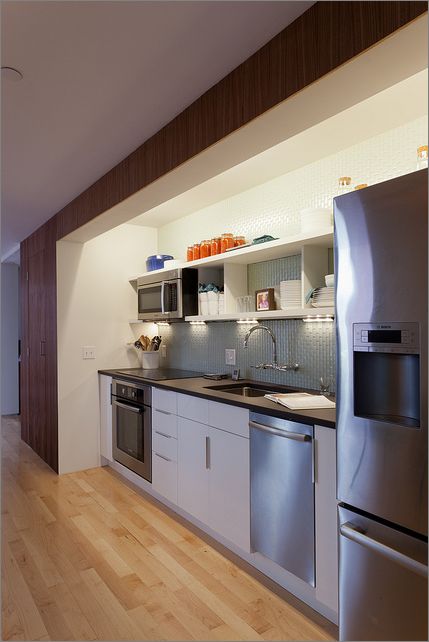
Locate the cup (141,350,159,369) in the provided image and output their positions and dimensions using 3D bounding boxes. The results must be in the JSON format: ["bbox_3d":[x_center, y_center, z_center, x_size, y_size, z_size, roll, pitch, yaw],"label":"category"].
[{"bbox_3d":[-0.580,0.351,4.115,0.136,0.153,0.148,0,2,0],"label":"cup"}]

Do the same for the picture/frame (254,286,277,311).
[{"bbox_3d":[0.307,-0.128,2.803,0.064,0.141,0.195,-1,-1,-34],"label":"picture/frame"}]

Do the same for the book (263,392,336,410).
[{"bbox_3d":[0.406,0.374,2.105,0.244,0.024,0.343,-1,-1,-17],"label":"book"}]

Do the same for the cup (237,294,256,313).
[{"bbox_3d":[0.211,-0.112,3.013,0.124,0.137,0.094,4,7,34],"label":"cup"}]

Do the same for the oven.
[{"bbox_3d":[-0.526,0.801,3.542,0.405,0.678,0.521,-5,8,-45],"label":"oven"}]

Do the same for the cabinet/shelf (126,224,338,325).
[{"bbox_3d":[0.111,-0.230,3.047,0.374,0.545,1.996,-1,-1,-32],"label":"cabinet/shelf"}]

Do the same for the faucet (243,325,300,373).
[{"bbox_3d":[0.305,0.176,2.865,0.216,0.296,0.518,-1,-1,-21],"label":"faucet"}]

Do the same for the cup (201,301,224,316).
[{"bbox_3d":[-0.027,-0.105,3.162,0.102,0.110,0.132,-2,2,-35],"label":"cup"}]

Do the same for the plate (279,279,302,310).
[{"bbox_3d":[0.409,-0.136,2.444,0.129,0.153,0.130,-2,-3,35],"label":"plate"}]

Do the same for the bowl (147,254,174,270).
[{"bbox_3d":[-0.494,-0.502,3.978,0.141,0.107,0.198,-1,1,-31],"label":"bowl"}]
